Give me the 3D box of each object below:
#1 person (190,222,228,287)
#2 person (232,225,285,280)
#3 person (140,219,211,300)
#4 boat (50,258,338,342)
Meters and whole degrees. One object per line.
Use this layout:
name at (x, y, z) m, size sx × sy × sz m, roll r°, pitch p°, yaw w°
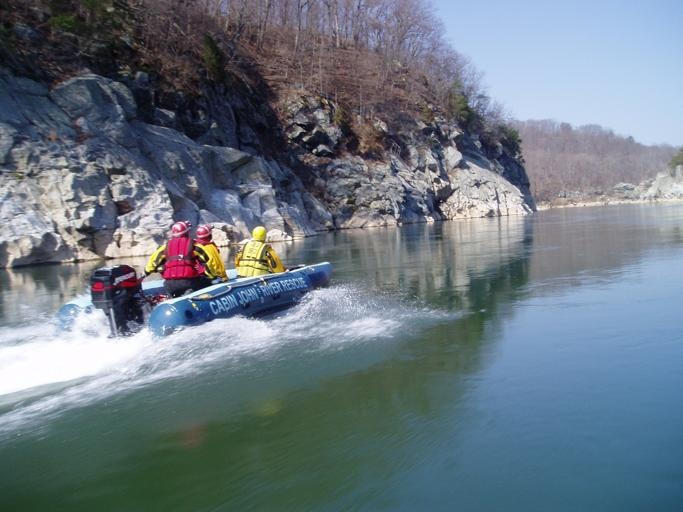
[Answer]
person at (-2.297, -0.030, 8.916) m, size 0.421 × 0.971 × 0.380 m, roll -27°, pitch 44°, yaw -25°
person at (-1.631, 0.012, 10.380) m, size 0.980 × 1.148 × 0.920 m, roll 9°, pitch 9°, yaw 2°
person at (-2.826, 0.171, 8.964) m, size 1.206 × 1.316 × 0.703 m, roll 1°, pitch -1°, yaw -24°
boat at (-1.994, 0.754, 9.339) m, size 1.942 × 0.636 × 3.194 m, roll -15°, pitch -1°, yaw 31°
